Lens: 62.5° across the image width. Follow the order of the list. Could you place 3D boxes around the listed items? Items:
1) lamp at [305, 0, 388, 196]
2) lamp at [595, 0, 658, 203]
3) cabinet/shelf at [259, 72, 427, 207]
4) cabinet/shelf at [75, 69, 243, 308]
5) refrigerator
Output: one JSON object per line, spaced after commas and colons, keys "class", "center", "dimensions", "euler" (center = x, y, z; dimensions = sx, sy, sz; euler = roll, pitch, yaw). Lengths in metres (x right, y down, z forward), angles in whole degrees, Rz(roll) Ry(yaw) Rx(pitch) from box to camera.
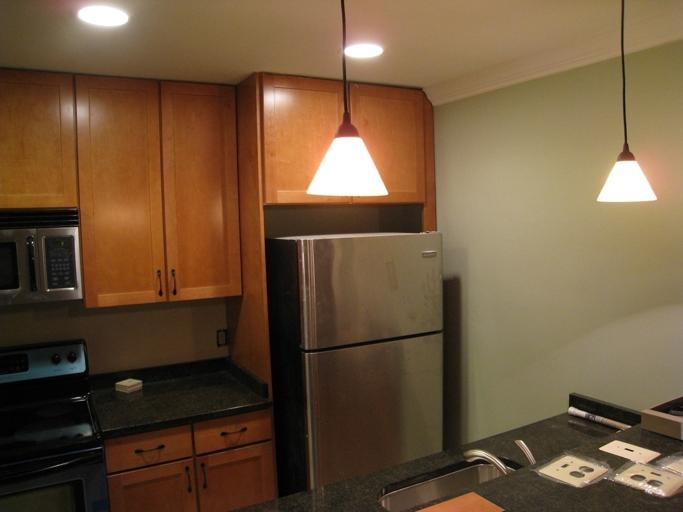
{"class": "lamp", "center": [0.007, -0.609, 2.219], "dimensions": [0.296, 0.785, 0.856], "euler": [-2, 13, -3]}
{"class": "lamp", "center": [1.223, -0.618, 2.332], "dimensions": [0.229, 0.875, 0.538], "euler": [5, 14, 25]}
{"class": "cabinet/shelf", "center": [-0.020, -0.648, 3.372], "dimensions": [1.102, 0.691, 0.354], "euler": [-3, 4, -27]}
{"class": "cabinet/shelf", "center": [-0.980, -0.356, 3.078], "dimensions": [0.844, 1.212, 0.346], "euler": [-4, 13, -10]}
{"class": "refrigerator", "center": [0.109, 0.608, 3.063], "dimensions": [0.970, 1.474, 0.496], "euler": [-4, 13, -10]}
